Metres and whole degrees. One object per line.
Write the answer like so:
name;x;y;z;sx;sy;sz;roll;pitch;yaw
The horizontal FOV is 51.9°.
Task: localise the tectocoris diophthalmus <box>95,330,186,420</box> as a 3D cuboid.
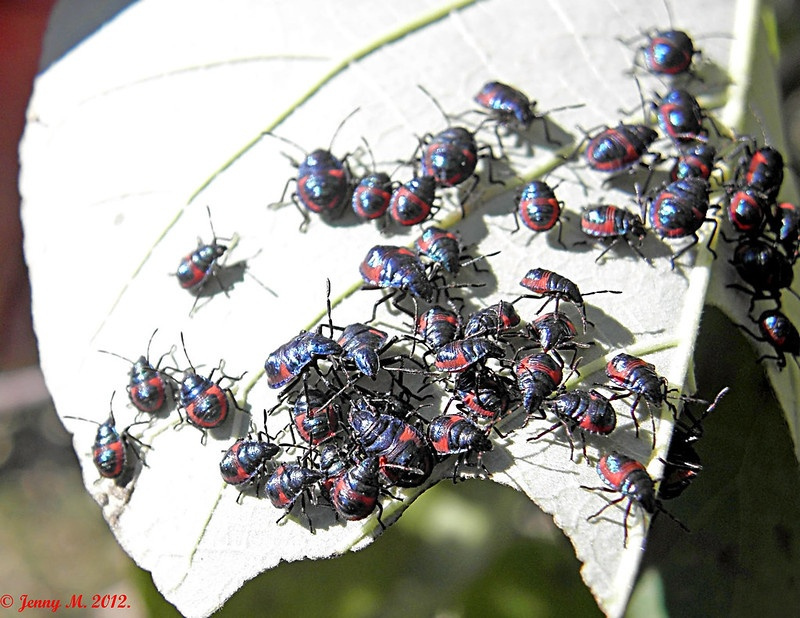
tectocoris diophthalmus;-1.703;0.464;5.563;0.341;0.488;0.139;-12;-1;13
